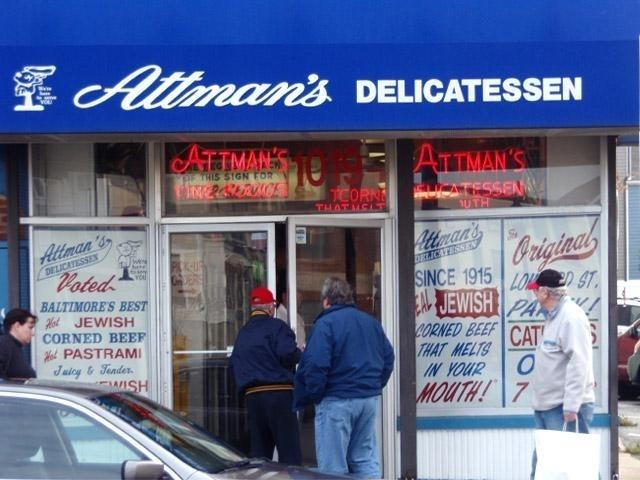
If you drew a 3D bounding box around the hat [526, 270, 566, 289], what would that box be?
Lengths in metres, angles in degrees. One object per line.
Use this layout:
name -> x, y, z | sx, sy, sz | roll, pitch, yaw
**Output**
hat -> 2.420, 0.465, 15.099 | 0.320, 0.184, 0.211 | 3, 2, 25
